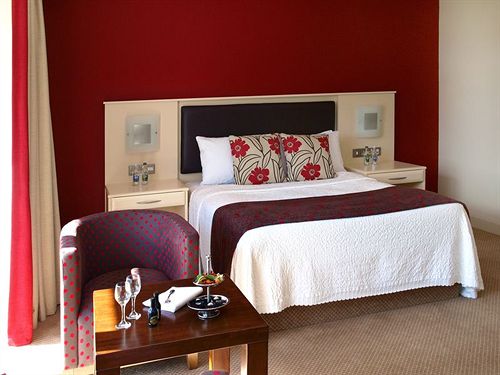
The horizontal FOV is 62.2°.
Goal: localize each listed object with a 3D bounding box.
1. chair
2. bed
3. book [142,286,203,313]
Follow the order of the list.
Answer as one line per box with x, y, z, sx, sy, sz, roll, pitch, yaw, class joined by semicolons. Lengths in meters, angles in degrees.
-0.802;0.806;3.071;1.144;1.107;0.953;-3;5;-25;chair
0.801;0.535;3.323;1.374;0.539;1.406;-6;21;-14;bed
-0.381;0.581;2.200;0.144;0.038;0.147;1;14;34;book
